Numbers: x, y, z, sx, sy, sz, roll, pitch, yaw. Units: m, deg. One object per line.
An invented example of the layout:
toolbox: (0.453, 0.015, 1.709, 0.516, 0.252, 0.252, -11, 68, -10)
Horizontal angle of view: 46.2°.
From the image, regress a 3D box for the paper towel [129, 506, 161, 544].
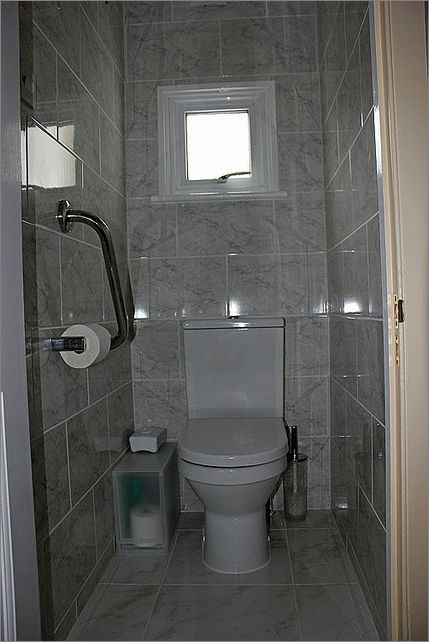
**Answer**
paper towel: (-0.229, 0.708, 1.710, 0.100, 0.137, 0.112, -1, 7, 0)

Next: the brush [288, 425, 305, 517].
brush: (0.307, 0.580, 1.906, 0.082, 0.369, 0.062, -2, 1, 1)

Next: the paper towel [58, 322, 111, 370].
paper towel: (-0.324, 0.056, 1.261, 0.081, 0.115, 0.116, 2, 3, 1)

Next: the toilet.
toilet: (0.062, 0.403, 1.755, 0.296, 0.792, 0.667, -1, 3, 4)

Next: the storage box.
storage box: (-0.253, 0.642, 1.785, 0.159, 0.296, 0.214, 1, 1, 0)
